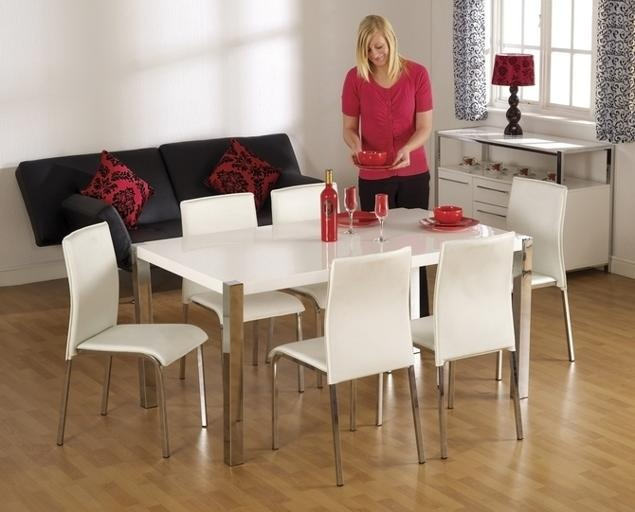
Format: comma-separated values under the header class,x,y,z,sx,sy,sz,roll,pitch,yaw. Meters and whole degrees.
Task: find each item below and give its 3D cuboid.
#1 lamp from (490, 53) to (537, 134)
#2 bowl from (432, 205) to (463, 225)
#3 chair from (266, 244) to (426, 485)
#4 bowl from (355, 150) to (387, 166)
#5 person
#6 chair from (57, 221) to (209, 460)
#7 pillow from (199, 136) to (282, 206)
class,x,y,z,sx,sy,sz,roll,pitch,yaw
lamp,1.743,-1.442,5.331,0.336,0.710,0.342,0,12,3
bowl,0.661,-0.204,3.073,0.107,0.065,0.117,-2,2,0
chair,0.124,0.412,2.421,0.638,0.915,0.456,-3,12,-8
bowl,0.304,-0.550,3.362,0.097,0.052,0.106,-1,5,0
person,0.413,-0.451,3.643,0.526,1.919,0.749,13,28,38
chair,-0.822,0.366,2.650,0.545,0.949,0.526,3,7,11
pillow,-0.681,-0.717,5.269,0.169,0.550,0.591,-33,20,50
